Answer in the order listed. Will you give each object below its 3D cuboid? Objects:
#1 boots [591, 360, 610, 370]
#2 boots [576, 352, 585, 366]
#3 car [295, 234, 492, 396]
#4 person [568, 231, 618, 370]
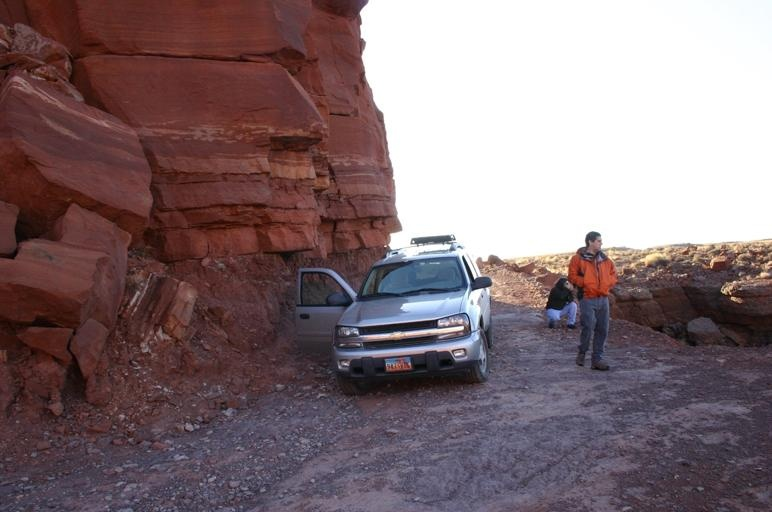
[{"bbox_3d":[3.843,1.948,8.258,0.162,0.111,0.288,-1,-4,-26],"label":"boots"},{"bbox_3d":[3.623,1.883,8.581,0.120,0.295,0.133,0,-39,14],"label":"boots"},{"bbox_3d":[0.533,1.057,9.063,2.942,1.660,3.629,-3,-5,11],"label":"car"},{"bbox_3d":[3.762,0.804,8.319,0.750,2.461,0.622,-17,14,-34],"label":"person"}]
